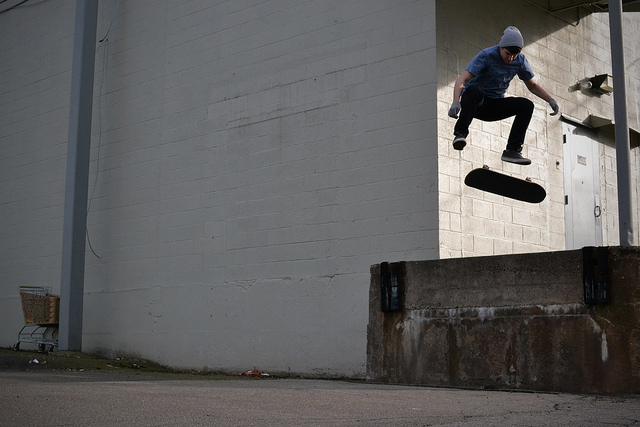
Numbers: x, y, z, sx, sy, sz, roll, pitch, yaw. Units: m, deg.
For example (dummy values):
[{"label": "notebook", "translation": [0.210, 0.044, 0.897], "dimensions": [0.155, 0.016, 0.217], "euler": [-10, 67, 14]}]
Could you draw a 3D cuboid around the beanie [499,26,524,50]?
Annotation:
[{"label": "beanie", "translation": [2.919, -2.650, 10.772], "dimensions": [0.306, 0.321, 0.400], "euler": [-1, 14, -3]}]

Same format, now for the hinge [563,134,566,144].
[{"label": "hinge", "translation": [4.777, -1.457, 13.921], "dimensions": [0.018, 0.191, 0.107], "euler": [-5, -8, 40]}]

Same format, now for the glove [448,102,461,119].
[{"label": "glove", "translation": [1.973, -1.527, 10.459], "dimensions": [0.150, 0.205, 0.196], "euler": [-1, -6, 6]}]

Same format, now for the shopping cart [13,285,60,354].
[{"label": "shopping cart", "translation": [-6.110, 2.241, 15.660], "dimensions": [1.210, 1.156, 0.818], "euler": [-3, -5, 34]}]
